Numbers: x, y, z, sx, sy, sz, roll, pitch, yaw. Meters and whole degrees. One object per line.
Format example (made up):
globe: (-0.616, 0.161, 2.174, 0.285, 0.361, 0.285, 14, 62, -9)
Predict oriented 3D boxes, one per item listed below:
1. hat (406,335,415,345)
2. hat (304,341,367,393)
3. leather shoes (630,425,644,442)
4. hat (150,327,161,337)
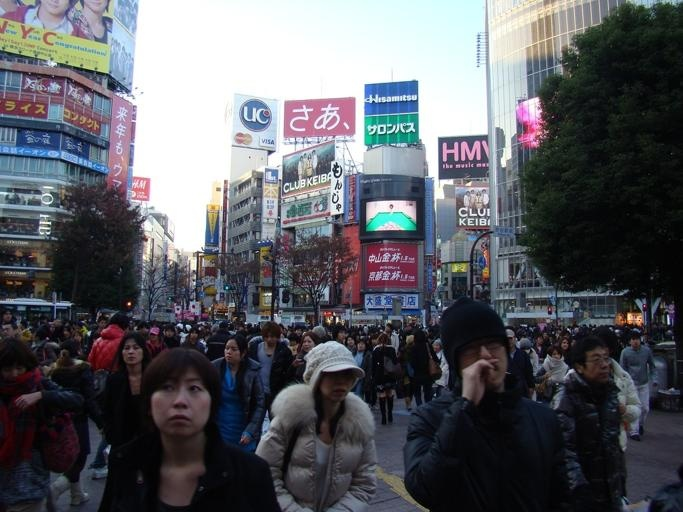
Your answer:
hat: (1.713, 2.070, 14.401, 0.230, 0.134, 0.236, -15, -3, -10)
hat: (-0.085, 0.814, 4.372, 0.278, 0.227, 0.421, 6, -20, -17)
leather shoes: (5.686, 3.428, 11.160, 0.160, 0.199, 0.454, -1, -4, 18)
hat: (-3.476, 1.401, 10.778, 0.138, 0.103, 0.201, 0, -13, 3)
